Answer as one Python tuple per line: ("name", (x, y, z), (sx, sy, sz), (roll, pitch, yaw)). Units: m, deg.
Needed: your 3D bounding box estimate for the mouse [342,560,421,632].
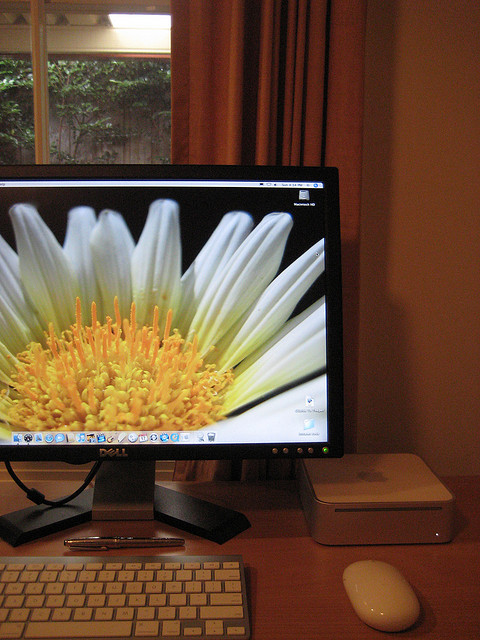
("mouse", (0.161, 0.316, 0.576), (0.070, 0.037, 0.087), (1, 6, -6))
